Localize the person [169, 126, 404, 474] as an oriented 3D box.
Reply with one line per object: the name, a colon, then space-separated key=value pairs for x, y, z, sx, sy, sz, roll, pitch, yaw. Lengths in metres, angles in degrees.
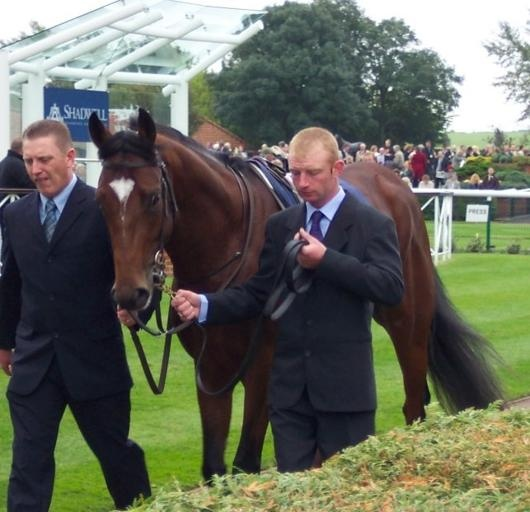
person: x=0.143 y=0.165 z=3.937 sx=0.784 sy=1.299 sz=0.454 roll=1 pitch=14 yaw=7

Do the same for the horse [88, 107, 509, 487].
horse: x=0.231 y=0.255 z=5.005 sx=2.509 sy=1.702 sz=0.546 roll=-5 pitch=5 yaw=-42
